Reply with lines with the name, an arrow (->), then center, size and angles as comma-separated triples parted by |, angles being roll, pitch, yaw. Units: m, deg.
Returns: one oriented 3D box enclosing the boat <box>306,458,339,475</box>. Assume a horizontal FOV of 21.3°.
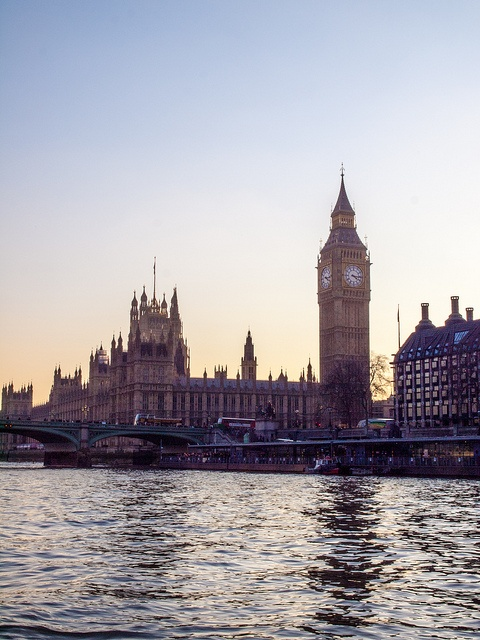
boat -> 7.647, 13.142, 114.232 | 0.948, 1.040, 2.916 | 1, -17, -17
